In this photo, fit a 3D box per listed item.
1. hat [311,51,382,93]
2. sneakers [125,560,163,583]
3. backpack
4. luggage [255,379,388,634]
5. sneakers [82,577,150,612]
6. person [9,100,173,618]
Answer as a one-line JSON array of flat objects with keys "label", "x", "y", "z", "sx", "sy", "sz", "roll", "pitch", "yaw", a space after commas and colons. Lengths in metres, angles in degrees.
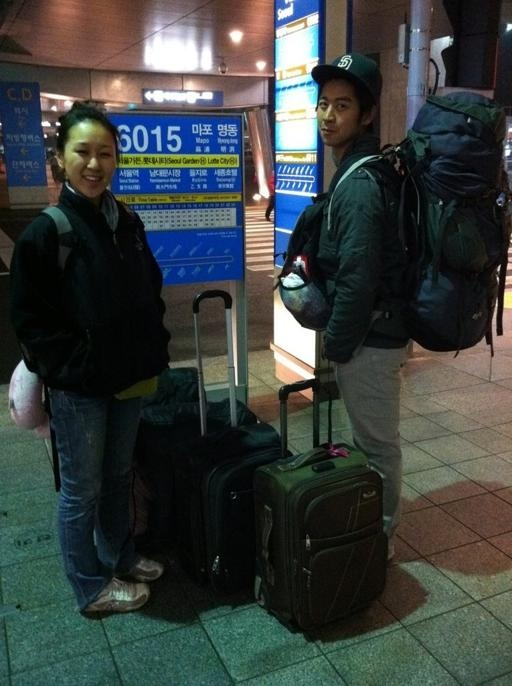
[{"label": "hat", "x": 0.328, "y": -0.961, "z": 2.036, "sx": 0.232, "sy": 0.109, "sz": 0.155, "roll": 19, "pitch": 18, "yaw": -37}, {"label": "sneakers", "x": -0.452, "y": 0.936, "z": 2.352, "sx": 0.177, "sy": 0.069, "sz": 0.071, "roll": 1, "pitch": 43, "yaw": -11}, {"label": "backpack", "x": 0.543, "y": -0.399, "z": 1.965, "sx": 0.474, "sy": 0.793, "sz": 0.620, "roll": -10, "pitch": 31, "yaw": 4}, {"label": "luggage", "x": 0.213, "y": 0.702, "z": 2.073, "sx": 0.407, "sy": 0.624, "sz": 0.340, "roll": -12, "pitch": 18, "yaw": -37}, {"label": "sneakers", "x": -0.508, "y": 0.963, "z": 2.168, "sx": 0.269, "sy": 0.112, "sz": 0.095, "roll": -8, "pitch": 27, "yaw": -17}, {"label": "person", "x": -0.554, "y": 0.140, "z": 1.970, "sx": 0.359, "sy": 1.830, "sz": 0.595, "roll": 5, "pitch": 16, "yaw": 24}]
